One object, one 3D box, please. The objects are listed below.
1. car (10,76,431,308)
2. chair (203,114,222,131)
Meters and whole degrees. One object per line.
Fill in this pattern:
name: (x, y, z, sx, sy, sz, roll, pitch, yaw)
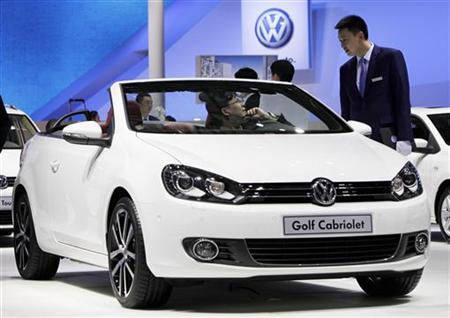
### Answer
car: (-0.357, 0.306, 3.555, 2.014, 1.345, 3.106, 2, -3, -27)
chair: (-0.106, -0.324, 3.442, 0.099, 0.140, 0.133, 1, -4, -26)
